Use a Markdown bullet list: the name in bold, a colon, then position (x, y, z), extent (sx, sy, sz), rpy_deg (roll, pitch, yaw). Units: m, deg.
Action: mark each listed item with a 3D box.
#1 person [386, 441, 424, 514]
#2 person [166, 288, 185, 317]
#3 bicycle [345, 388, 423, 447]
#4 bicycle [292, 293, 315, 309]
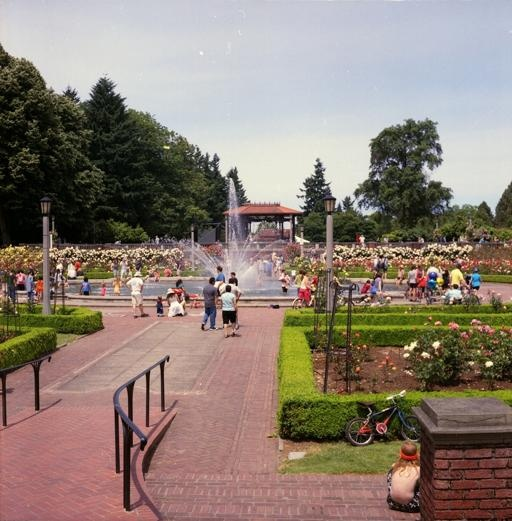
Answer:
- **person**: position (1.794, 2.480, 9.545), extent (0.578, 0.835, 0.654), rpy_deg (3, -1, 13)
- **person**: position (-2.317, 1.241, 24.514), extent (0.490, 1.033, 0.725), rpy_deg (-3, -28, 4)
- **bicycle**: position (1.730, 2.207, 11.706), extent (1.090, 0.704, 0.548), rpy_deg (-8, -2, -7)
- **bicycle**: position (1.351, 1.159, 24.484), extent (0.656, 0.403, 0.324), rpy_deg (-3, 10, -4)
